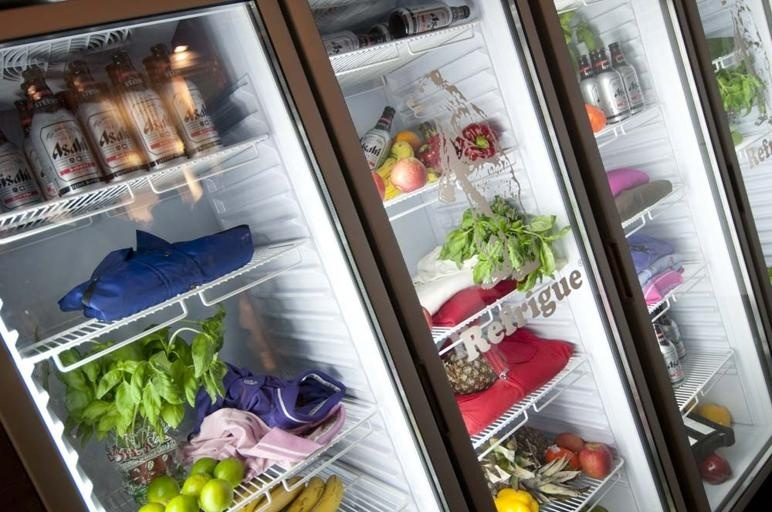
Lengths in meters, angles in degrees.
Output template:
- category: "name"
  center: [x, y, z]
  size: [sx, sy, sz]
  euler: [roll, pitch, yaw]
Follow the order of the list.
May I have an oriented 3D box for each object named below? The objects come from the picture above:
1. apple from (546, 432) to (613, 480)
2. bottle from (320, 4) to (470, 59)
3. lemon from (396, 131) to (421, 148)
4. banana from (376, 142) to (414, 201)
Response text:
- category: "apple"
  center: [0.780, 0.758, 2.178]
  size: [0.246, 0.123, 0.255]
  euler: [2, 14, 30]
- category: "bottle"
  center: [0.020, -0.777, 1.830]
  size: [0.566, 0.163, 0.388]
  euler: [-12, 17, -36]
- category: "lemon"
  center: [0.083, -0.419, 1.909]
  size: [0.070, 0.069, 0.069]
  euler: [2, -2, -11]
- category: "banana"
  center: [0.033, -0.314, 1.880]
  size: [0.116, 0.224, 0.082]
  euler: [-2, -21, 19]
